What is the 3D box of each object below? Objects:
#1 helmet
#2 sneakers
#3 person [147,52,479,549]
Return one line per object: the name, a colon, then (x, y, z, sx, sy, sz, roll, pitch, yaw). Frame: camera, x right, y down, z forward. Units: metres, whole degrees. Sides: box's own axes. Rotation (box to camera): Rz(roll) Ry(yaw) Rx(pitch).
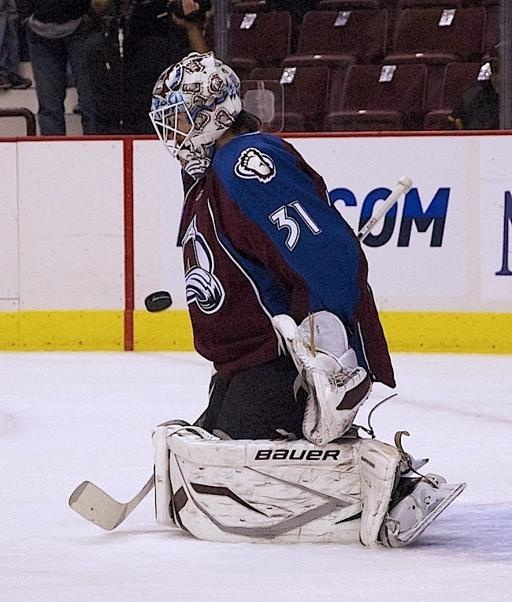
helmet: (-0.133, -0.431, 2.351, 0.294, 0.262, 0.255, -8, 4, -4)
sneakers: (0.339, 0.415, 2.030, 0.092, 0.120, 0.035, 23, -28, 54)
person: (0.029, -0.025, 2.130, 0.461, 1.035, 0.698, -5, 8, -39)
